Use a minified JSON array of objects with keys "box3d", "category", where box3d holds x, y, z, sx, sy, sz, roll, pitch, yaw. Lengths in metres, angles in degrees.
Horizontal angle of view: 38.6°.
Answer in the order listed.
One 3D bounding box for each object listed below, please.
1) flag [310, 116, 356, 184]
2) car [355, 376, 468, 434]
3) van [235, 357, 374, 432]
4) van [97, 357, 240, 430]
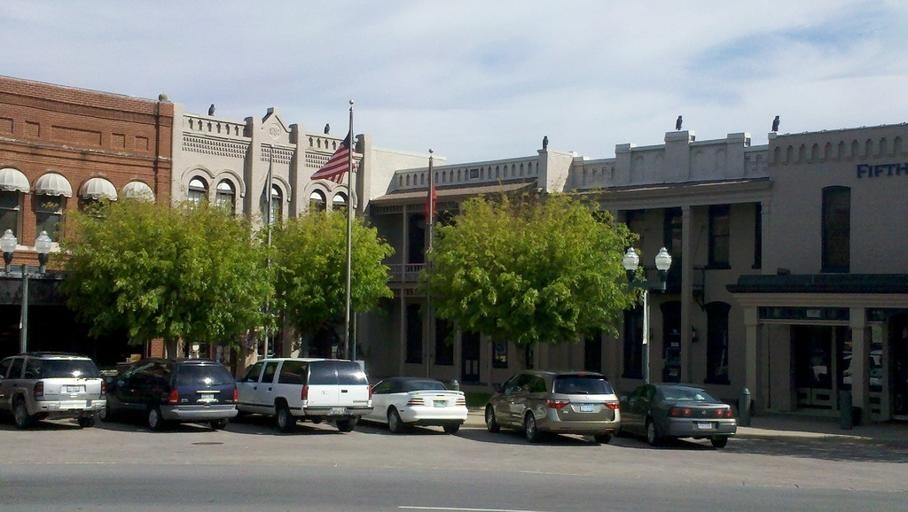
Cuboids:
[{"box3d":[-5.564,-4.596,62.084,1.455,2.129,5.272,1,-7,-6],"category":"flag"},{"box3d":[-1.788,6.064,52.625,2.460,1.982,6.125,2,-4,-33],"category":"car"},{"box3d":[-6.135,6.009,52.092,3.808,3.490,6.655,3,-3,-41],"category":"van"},{"box3d":[-11.309,5.630,51.972,4.969,2.815,1.665,-3,-8,23],"category":"van"}]
